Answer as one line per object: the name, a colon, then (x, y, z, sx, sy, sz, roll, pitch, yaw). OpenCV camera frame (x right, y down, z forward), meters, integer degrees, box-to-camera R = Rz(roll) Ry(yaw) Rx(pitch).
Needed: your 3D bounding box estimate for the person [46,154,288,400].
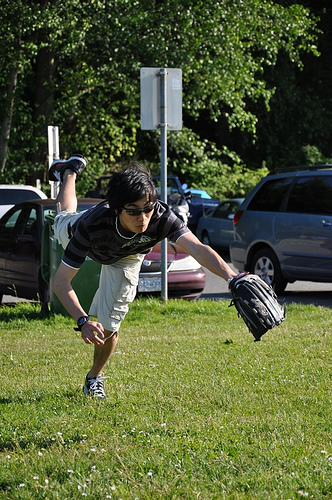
person: (-0.225, 0.042, 4.066, 1.170, 1.165, 2.394, 0, 14, -18)

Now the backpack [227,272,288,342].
backpack: (0.443, 0.331, 3.199, 0.287, 0.343, 0.151, -35, -2, -34)

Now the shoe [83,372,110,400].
shoe: (-0.478, 0.926, 4.131, 0.094, 0.091, 0.200, 1, 2, -27)

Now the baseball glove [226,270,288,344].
baseball glove: (0.426, 0.303, 3.205, 0.295, 0.366, 0.166, -37, 0, -32)

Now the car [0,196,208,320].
car: (-1.271, 0.079, 8.600, 1.645, 1.234, 2.628, -1, -2, -44)

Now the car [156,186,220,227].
car: (1.031, -1.563, 22.460, 2.434, 1.343, 1.513, -7, 8, -14)

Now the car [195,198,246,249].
car: (1.317, -0.692, 16.058, 0.996, 0.918, 1.889, -2, 8, -37)

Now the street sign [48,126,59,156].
street sign: (-2.027, -1.956, 10.914, 0.167, 0.464, 0.418, -2, 1, -12)
